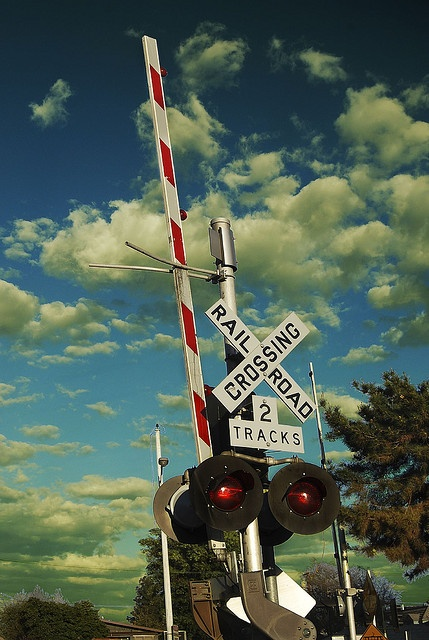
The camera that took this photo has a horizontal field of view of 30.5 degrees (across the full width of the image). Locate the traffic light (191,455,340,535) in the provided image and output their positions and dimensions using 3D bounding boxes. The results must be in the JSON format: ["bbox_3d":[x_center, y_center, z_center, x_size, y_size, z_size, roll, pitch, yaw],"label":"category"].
[{"bbox_3d":[0.366,1.206,5.478,1.065,0.587,0.235,1,-7,-24],"label":"traffic light"}]
